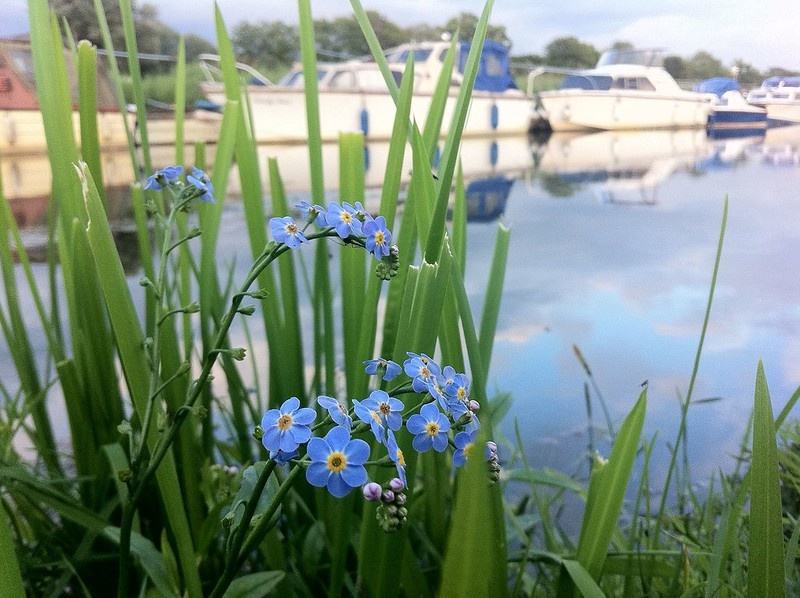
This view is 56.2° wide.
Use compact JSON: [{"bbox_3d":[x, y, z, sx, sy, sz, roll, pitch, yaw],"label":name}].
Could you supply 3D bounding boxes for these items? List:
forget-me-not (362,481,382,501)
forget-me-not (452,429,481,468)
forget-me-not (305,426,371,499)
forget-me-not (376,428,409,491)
[{"bbox_3d":[-0.030,0.183,0.728,0.015,0.019,0.010,-17,15,1],"label":"forget-me-not"},{"bbox_3d":[0.065,0.153,0.762,0.023,0.034,0.021,0,14,6],"label":"forget-me-not"},{"bbox_3d":[-0.060,0.155,0.718,0.061,0.062,0.027,-3,14,-6],"label":"forget-me-not"},{"bbox_3d":[-0.011,0.152,0.742,0.013,0.054,0.054,-17,46,6],"label":"forget-me-not"}]
